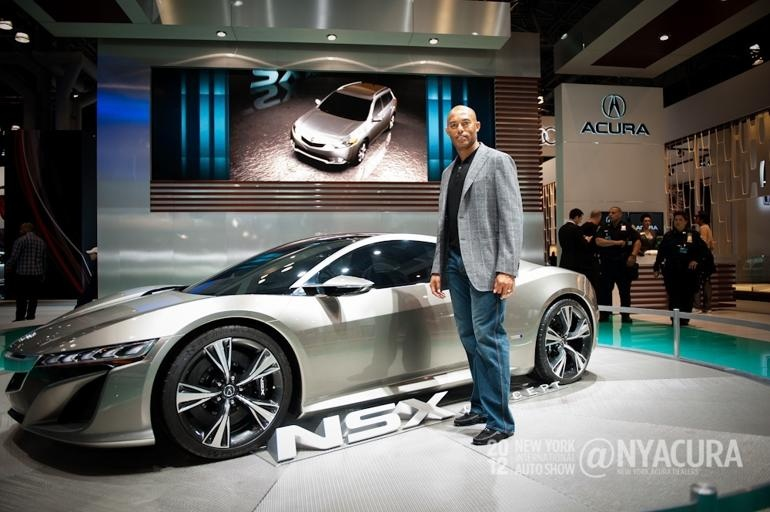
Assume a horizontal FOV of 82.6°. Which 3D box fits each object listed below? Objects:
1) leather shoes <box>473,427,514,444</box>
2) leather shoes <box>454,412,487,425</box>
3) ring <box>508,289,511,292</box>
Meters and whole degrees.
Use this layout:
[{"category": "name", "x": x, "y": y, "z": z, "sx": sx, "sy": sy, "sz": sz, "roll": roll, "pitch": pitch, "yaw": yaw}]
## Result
[{"category": "leather shoes", "x": 0.741, "y": 1.225, "z": 2.982, "sx": 0.272, "sy": 0.101, "sz": 0.095, "roll": 3, "pitch": -5, "yaw": -30}, {"category": "leather shoes", "x": 0.633, "y": 1.187, "z": 3.251, "sx": 0.242, "sy": 0.084, "sz": 0.087, "roll": 2, "pitch": -3, "yaw": -10}, {"category": "ring", "x": 0.865, "y": 0.234, "z": 3.019, "sx": 0.027, "sy": 0.015, "sz": 0.007, "roll": 5, "pitch": 2, "yaw": -22}]
